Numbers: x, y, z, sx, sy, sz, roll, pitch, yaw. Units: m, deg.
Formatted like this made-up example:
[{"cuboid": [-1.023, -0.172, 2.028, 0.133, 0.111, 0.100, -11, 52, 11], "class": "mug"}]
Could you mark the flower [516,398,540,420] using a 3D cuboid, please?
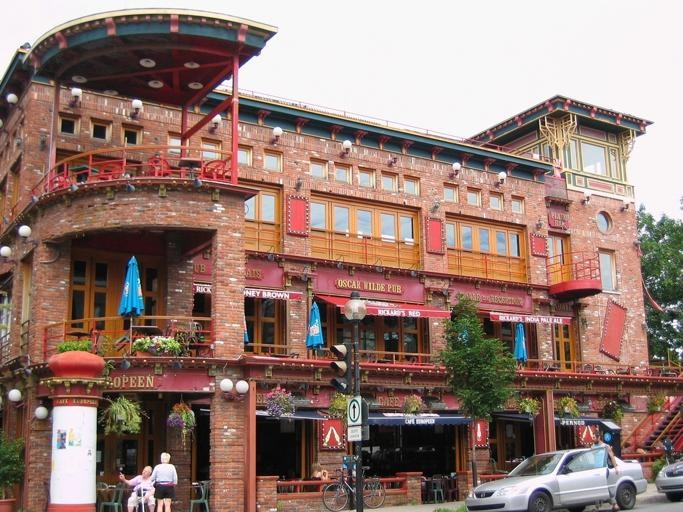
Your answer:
[{"cuboid": [8.119, 6.665, 44.912, 0.953, 0.695, 0.971, -3, -10, 24], "class": "flower"}]

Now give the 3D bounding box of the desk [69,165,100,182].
[{"cuboid": [-10.124, -3.282, 40.677, 0.900, 0.487, 1.207, -7, -9, 32], "class": "desk"}]

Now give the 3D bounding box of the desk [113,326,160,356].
[{"cuboid": [-7.681, 2.997, 37.823, 1.628, 0.603, 1.208, -1, 15, 26], "class": "desk"}]

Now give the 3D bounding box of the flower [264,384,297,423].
[{"cuboid": [-2.299, 5.659, 39.276, 1.130, 1.147, 1.296, -4, -7, 28], "class": "flower"}]

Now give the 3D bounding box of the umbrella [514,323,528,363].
[{"cuboid": [7.896, 3.741, 45.744, 0.544, 1.911, 1.317, -5, -20, 9], "class": "umbrella"}]

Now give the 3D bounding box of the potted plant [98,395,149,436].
[{"cuboid": [-7.901, 5.753, 37.262, 1.710, 1.926, 2.003, -5, -11, 36], "class": "potted plant"}]

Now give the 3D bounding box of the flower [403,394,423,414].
[{"cuboid": [2.986, 6.127, 42.866, 0.728, 0.752, 0.730, -2, -6, -3], "class": "flower"}]

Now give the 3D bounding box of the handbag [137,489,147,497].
[{"cuboid": [-6.380, 7.541, 32.868, 0.307, 0.230, 0.314, 5, -14, -18], "class": "handbag"}]

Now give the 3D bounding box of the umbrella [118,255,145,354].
[{"cuboid": [-7.541, 1.681, 37.322, 0.763, 3.247, 0.702, 6, 8, 28], "class": "umbrella"}]

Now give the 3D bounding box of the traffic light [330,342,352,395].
[{"cuboid": [-0.008, 3.343, 30.631, 0.602, 1.577, 1.255, -1, -20, 0], "class": "traffic light"}]

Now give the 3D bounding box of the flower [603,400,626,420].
[{"cuboid": [12.863, 7.244, 48.589, 0.871, 0.927, 0.878, -7, -12, 29], "class": "flower"}]

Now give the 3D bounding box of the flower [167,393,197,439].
[{"cuboid": [-5.706, 5.880, 37.681, 0.835, 1.092, 0.813, -14, 3, -8], "class": "flower"}]

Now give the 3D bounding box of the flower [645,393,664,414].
[{"cuboid": [15.072, 7.040, 49.181, 0.921, 1.153, 1.019, 0, 0, 9], "class": "flower"}]

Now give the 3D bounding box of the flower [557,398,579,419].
[{"cuboid": [10.073, 6.784, 46.104, 0.857, 0.727, 0.866, 1, -4, -25], "class": "flower"}]
